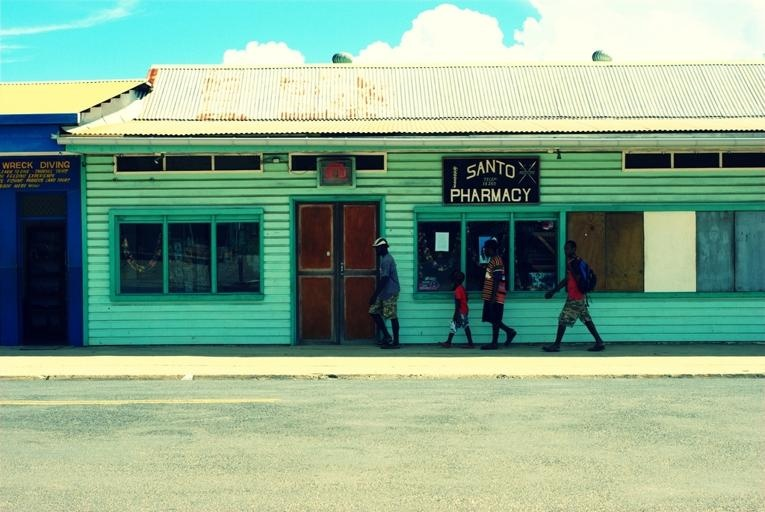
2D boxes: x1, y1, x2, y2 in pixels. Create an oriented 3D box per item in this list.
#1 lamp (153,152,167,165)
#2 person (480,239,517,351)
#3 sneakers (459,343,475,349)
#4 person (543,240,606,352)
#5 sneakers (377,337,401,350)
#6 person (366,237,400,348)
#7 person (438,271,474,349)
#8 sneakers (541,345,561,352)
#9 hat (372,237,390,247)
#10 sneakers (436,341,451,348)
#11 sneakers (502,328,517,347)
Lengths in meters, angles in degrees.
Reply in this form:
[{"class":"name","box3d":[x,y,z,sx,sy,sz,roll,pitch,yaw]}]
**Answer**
[{"class":"lamp","box3d":[-4.923,-2.102,32.306,0.286,0.251,0.214,1,-2,-6]},{"class":"person","box3d":[2.428,0.862,31.999,0.691,2.454,0.872,-1,-4,5]},{"class":"sneakers","box3d":[1.774,2.012,31.995,0.347,0.111,0.113,3,3,22]},{"class":"person","box3d":[4.061,0.899,31.704,1.234,2.433,1.212,-1,-4,7]},{"class":"sneakers","box3d":[0.079,1.971,31.986,0.492,0.182,0.177,2,3,35]},{"class":"person","box3d":[-0.024,0.858,32.048,0.658,2.392,0.861,-1,-4,1]},{"class":"person","box3d":[1.571,1.238,31.988,0.634,1.627,0.914,-1,-4,3]},{"class":"sneakers","box3d":[3.566,2.053,31.688,0.385,0.247,0.143,3,-6,5]},{"class":"hat","box3d":[-0.099,-0.258,31.874,0.298,0.147,0.201,2,-2,-8]},{"class":"sneakers","box3d":[1.276,1.991,32.087,0.253,0.102,0.091,8,10,31]},{"class":"sneakers","box3d":[2.707,1.852,32.032,0.222,0.171,0.508,11,-40,-4]}]
